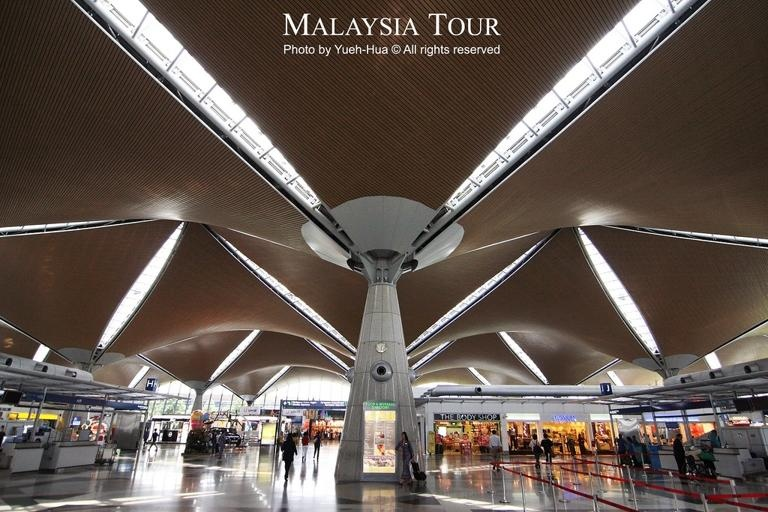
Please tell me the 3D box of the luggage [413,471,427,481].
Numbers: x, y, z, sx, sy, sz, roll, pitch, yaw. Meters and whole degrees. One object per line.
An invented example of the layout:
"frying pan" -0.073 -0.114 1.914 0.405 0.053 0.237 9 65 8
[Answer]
"luggage" 0.944 8.781 14.387 0.541 0.390 0.422 -11 -29 32

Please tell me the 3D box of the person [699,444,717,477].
"person" 13.571 9.174 16.130 0.512 1.198 1.446 -18 -31 33
